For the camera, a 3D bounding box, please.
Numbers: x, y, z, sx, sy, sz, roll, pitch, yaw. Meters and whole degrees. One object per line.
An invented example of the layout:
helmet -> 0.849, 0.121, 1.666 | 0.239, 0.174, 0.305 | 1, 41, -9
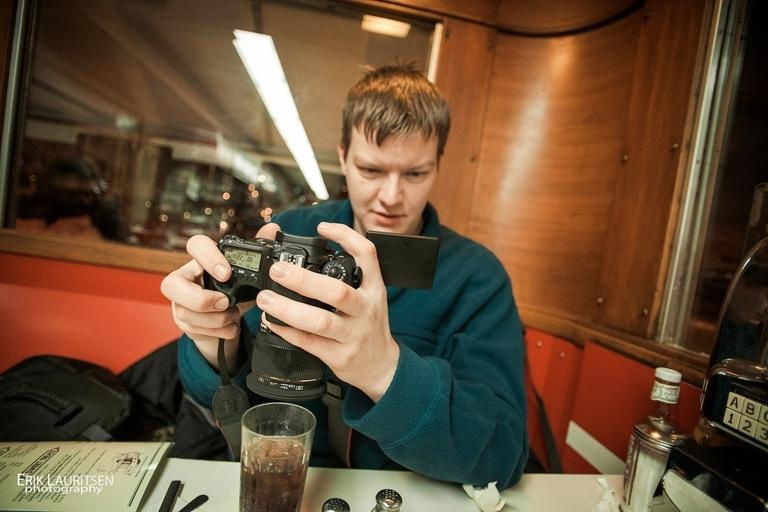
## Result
camera -> -0.174, 0.144, 1.600 | 0.702, 0.487, 0.341 | 5, -2, 14

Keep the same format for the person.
person -> -0.041, 0.080, 1.955 | 1.289, 1.309, 1.030 | 9, 10, 37
